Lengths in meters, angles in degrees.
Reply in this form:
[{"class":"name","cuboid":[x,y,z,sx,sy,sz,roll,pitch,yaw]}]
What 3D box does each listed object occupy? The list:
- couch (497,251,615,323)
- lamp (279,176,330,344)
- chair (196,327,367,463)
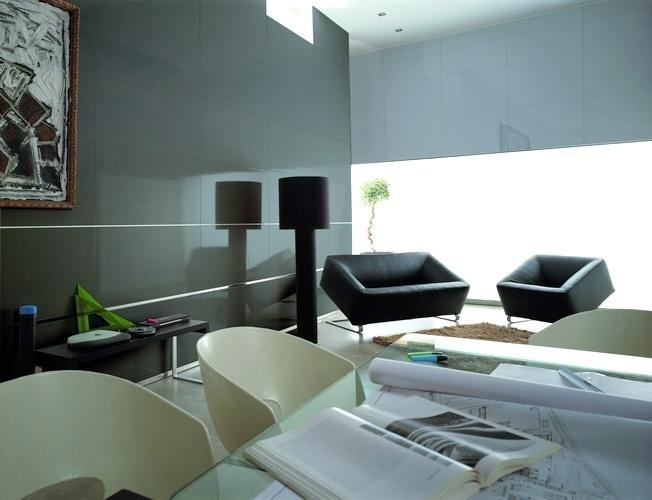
[{"class":"couch","cuboid":[2.465,0.338,4.960,0.961,0.613,0.958,-33,22,-33]},{"class":"lamp","cuboid":[-0.189,0.097,4.447,0.479,1.573,0.316,-2,9,-6]},{"class":"chair","cuboid":[-0.231,0.472,2.045,0.585,0.524,0.630,-9,-8,40]}]
